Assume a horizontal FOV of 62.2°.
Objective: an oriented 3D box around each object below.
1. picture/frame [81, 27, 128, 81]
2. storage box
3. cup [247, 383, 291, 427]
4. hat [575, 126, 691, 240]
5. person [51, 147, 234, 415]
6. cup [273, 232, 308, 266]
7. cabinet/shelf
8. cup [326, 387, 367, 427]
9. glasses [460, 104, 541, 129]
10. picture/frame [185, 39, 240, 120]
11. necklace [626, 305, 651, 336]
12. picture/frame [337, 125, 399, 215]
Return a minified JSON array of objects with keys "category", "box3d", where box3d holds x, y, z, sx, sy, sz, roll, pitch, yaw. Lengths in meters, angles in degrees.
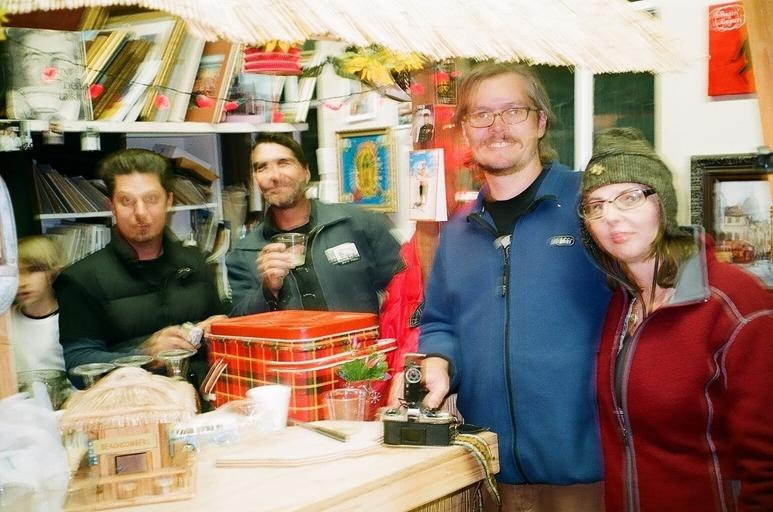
[{"category":"picture/frame","box3d":[-1.430,-1.023,3.334,0.197,0.273,0.068,27,-9,35]},{"category":"storage box","box3d":[-0.357,0.444,2.527,0.825,0.368,0.733,3,-3,-31]},{"category":"cup","box3d":[-0.380,0.488,2.189,0.151,0.118,0.135,-9,12,-27]},{"category":"hat","box3d":[0.872,-0.237,2.176,0.415,0.374,0.359,-4,8,-29]},{"category":"person","box3d":[-1.227,0.163,3.433,0.870,1.367,0.813,-1,8,16]},{"category":"cup","box3d":[-0.422,-0.021,2.853,0.167,0.145,0.161,-3,4,0]},{"category":"cabinet/shelf","box3d":[-1.261,-0.292,3.419,0.958,0.944,0.324,-16,15,-39]},{"category":"cup","box3d":[-0.138,0.511,2.200,0.126,0.087,0.124,0,6,0]},{"category":"glasses","box3d":[0.424,-0.507,2.345,0.257,0.077,0.041,0,3,8]},{"category":"picture/frame","box3d":[-0.929,-0.964,3.556,0.359,0.437,0.188,1,3,34]},{"category":"necklace","box3d":[0.832,0.206,2.139,0.046,0.119,0.031,27,7,-4]},{"category":"picture/frame","box3d":[-0.094,-0.524,3.831,0.563,0.592,0.051,7,16,37]}]
